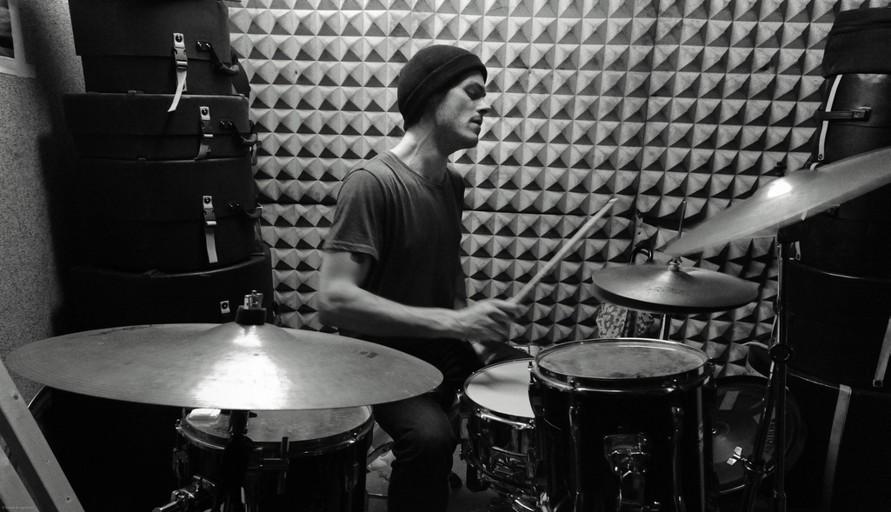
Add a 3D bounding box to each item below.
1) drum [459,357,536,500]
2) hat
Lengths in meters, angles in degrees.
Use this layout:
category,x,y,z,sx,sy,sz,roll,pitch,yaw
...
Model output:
category,x,y,z,sx,sy,sz,roll,pitch,yaw
drum,0.265,0.833,3.734,0.534,0.435,0.595,-2,19,2
hat,-0.028,-0.909,3.886,0.451,0.368,0.427,-10,-2,21
